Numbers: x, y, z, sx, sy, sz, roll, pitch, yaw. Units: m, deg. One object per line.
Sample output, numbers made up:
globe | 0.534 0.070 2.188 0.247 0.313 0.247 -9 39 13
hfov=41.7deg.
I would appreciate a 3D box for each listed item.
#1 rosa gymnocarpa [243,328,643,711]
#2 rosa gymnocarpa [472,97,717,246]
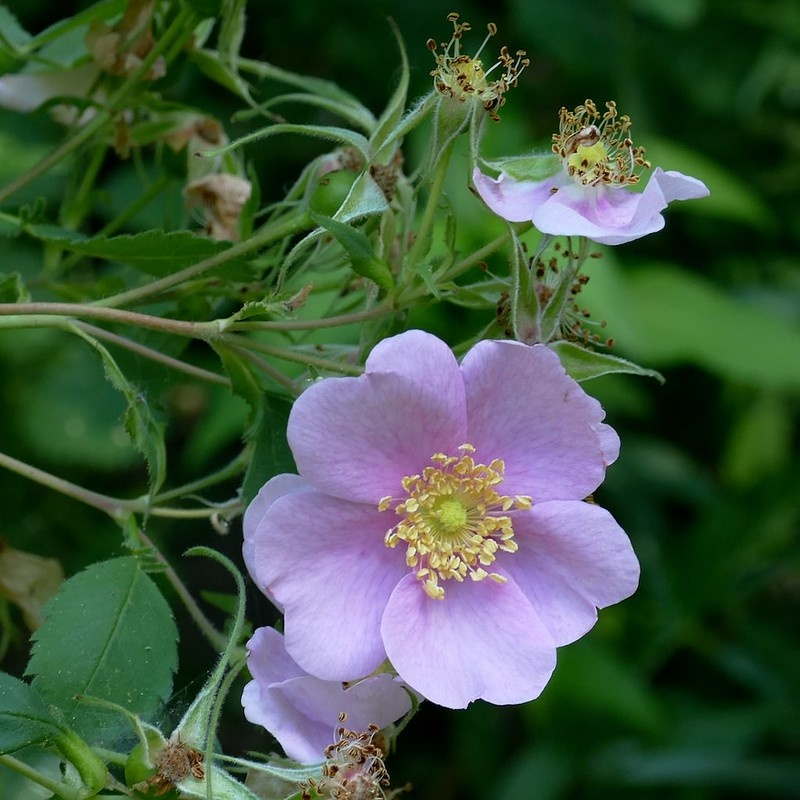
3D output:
rosa gymnocarpa | 0.032 0.077 0.704 0.267 0.086 0.239 14 78 4
rosa gymnocarpa | 0.142 -0.146 0.768 0.107 0.104 0.040 15 84 -24
